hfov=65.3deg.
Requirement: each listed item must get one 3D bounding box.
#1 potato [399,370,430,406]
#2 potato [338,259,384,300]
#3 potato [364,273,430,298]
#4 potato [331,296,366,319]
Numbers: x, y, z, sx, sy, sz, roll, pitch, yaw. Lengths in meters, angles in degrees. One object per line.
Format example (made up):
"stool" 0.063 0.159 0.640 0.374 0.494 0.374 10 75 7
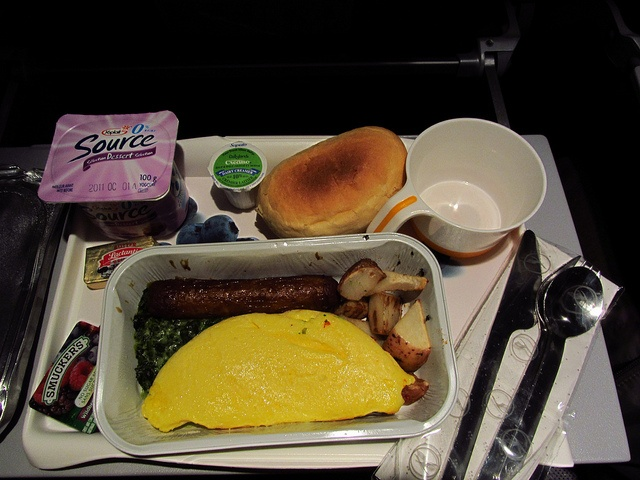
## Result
"potato" 0.428 0.682 2.264 0.124 0.045 0.092 -44 87 -10
"potato" 0.190 0.196 2.340 0.198 0.072 0.158 -32 103 8
"potato" 0.374 0.209 2.417 0.361 0.097 0.113 -3 69 -5
"potato" 0.159 0.344 2.449 0.106 0.041 0.109 27 55 20
